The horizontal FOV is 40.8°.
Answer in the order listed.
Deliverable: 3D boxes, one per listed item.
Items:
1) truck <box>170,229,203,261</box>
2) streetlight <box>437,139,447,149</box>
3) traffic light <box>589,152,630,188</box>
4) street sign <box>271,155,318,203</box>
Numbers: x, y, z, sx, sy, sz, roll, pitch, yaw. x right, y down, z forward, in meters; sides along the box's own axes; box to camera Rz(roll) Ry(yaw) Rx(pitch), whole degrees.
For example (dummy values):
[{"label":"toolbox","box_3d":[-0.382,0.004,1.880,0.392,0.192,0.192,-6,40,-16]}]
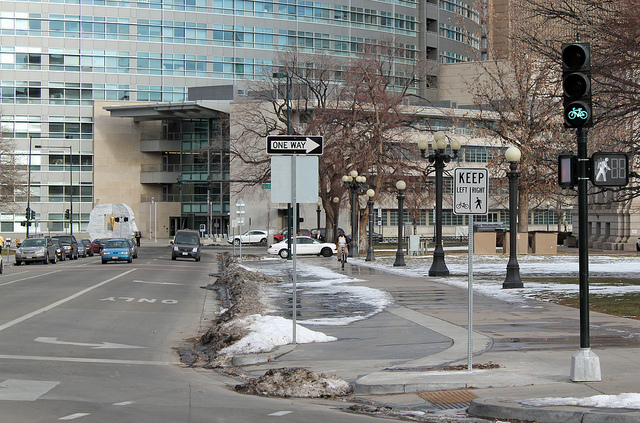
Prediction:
[{"label":"truck","box_3d":[-9.166,1.998,59.516,2.020,1.741,3.668,4,11,-8]},{"label":"streetlight","box_3d":[5.477,-3.140,38.653,0.414,0.372,0.455,-21,19,3]},{"label":"traffic light","box_3d":[6.739,-1.045,20.130,0.861,0.626,0.685,-1,0,16]},{"label":"street sign","box_3d":[-0.691,-0.882,22.641,1.458,1.243,0.142,-1,0,3]}]
